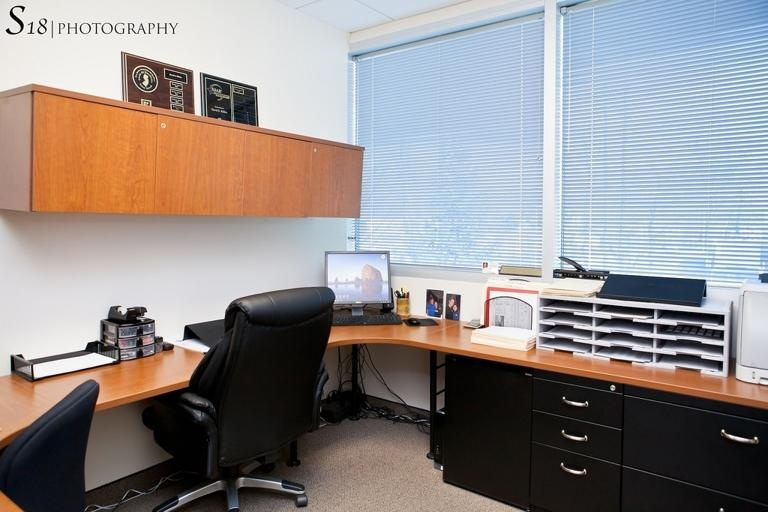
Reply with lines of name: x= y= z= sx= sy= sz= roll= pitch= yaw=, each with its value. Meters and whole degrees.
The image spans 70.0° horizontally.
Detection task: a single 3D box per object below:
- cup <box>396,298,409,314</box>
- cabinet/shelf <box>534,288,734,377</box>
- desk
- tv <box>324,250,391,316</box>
cup: x=0.154 y=0.407 z=4.487 sx=0.114 sy=0.137 sz=0.150 roll=2 pitch=-2 yaw=-29
cabinet/shelf: x=1.537 y=0.455 z=3.428 sx=1.062 sy=0.360 sz=0.357 roll=3 pitch=6 yaw=37
desk: x=-0.130 y=0.806 z=3.315 sx=4.049 sy=0.465 sz=1.311 roll=-2 pitch=4 yaw=-4
tv: x=-0.208 y=0.202 z=4.316 sx=0.551 sy=0.478 sz=0.154 roll=0 pitch=-5 yaw=-2
